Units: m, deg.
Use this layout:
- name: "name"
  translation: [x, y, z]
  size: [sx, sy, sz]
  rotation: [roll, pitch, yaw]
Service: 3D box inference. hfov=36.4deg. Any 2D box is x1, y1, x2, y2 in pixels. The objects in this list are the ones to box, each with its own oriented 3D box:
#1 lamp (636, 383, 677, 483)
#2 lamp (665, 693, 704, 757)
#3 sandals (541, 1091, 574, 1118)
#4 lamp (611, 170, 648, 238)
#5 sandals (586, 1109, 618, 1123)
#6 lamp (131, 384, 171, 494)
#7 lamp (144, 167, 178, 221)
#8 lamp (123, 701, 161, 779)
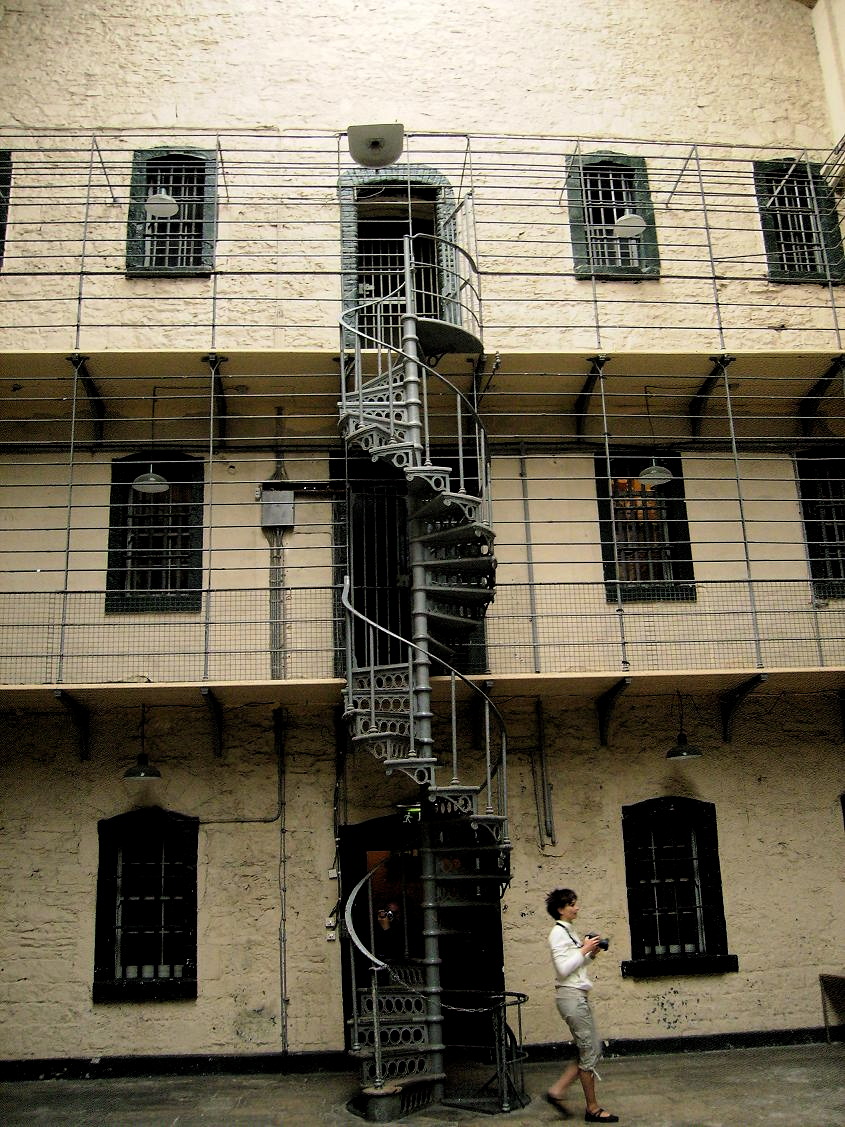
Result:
- name: "lamp"
  translation: [2.264, -1.234, 12.567]
  size: [0.339, 1.068, 0.869]
  rotation: [-5, -12, 11]
- name: "lamp"
  translation: [2.415, 1.514, 12.005]
  size: [0.316, 0.617, 0.679]
  rotation: [-4, -12, 11]
- name: "sandals"
  translation: [0.985, 3.911, 9.337]
  size: [0.133, 0.089, 0.303]
  rotation: [2, -2, -8]
- name: "lamp"
  translation: [2.075, -3.615, 12.994]
  size: [0.343, 0.918, 0.649]
  rotation: [-4, -13, 10]
- name: "sandals"
  translation: [1.237, 3.836, 8.944]
  size: [0.261, 0.080, 0.090]
  rotation: [-1, -8, 0]
- name: "lamp"
  translation: [-2.554, -1.151, 12.099]
  size: [0.343, 1.157, 0.828]
  rotation: [1, -13, -12]
- name: "lamp"
  translation: [-2.581, -3.669, 12.739]
  size: [0.323, 0.718, 0.488]
  rotation: [0, -13, -11]
- name: "lamp"
  translation: [-2.502, 1.601, 11.529]
  size: [0.288, 0.689, 0.589]
  rotation: [0, -12, -10]
